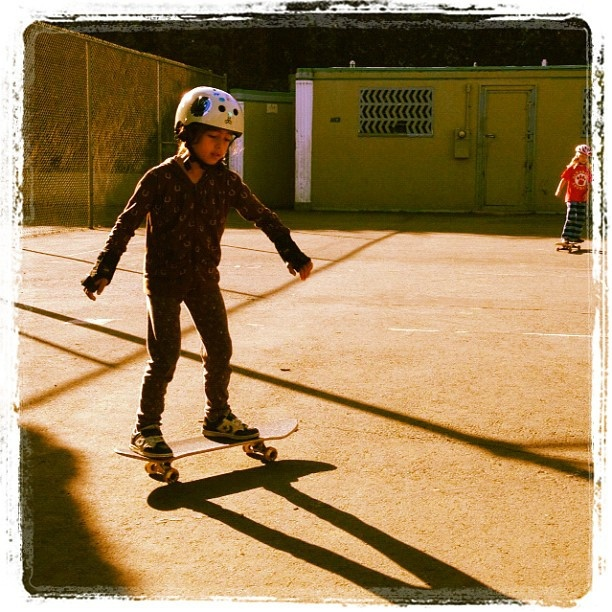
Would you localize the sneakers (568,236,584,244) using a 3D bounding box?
[{"bbox_3d":[5.053,-1.194,13.191,0.308,0.113,0.285,-2,13,9],"label":"sneakers"}]

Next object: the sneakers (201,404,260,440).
[{"bbox_3d":[-0.408,0.617,3.688,0.349,0.137,0.119,2,1,9],"label":"sneakers"}]

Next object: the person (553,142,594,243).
[{"bbox_3d":[4.924,-1.989,13.102,0.571,1.964,0.867,7,10,19],"label":"person"}]

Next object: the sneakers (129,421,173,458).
[{"bbox_3d":[-0.744,0.645,3.428,0.102,0.109,0.277,3,0,-45],"label":"sneakers"}]

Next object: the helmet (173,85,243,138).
[{"bbox_3d":[-0.463,-0.929,3.389,0.317,0.238,0.277,2,9,-5],"label":"helmet"}]

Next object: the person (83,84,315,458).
[{"bbox_3d":[-0.537,-0.169,3.465,1.082,1.759,0.394,-4,12,-37],"label":"person"}]

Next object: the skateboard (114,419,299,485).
[{"bbox_3d":[-0.470,0.716,3.561,1.075,0.172,0.301,-4,9,-30],"label":"skateboard"}]
